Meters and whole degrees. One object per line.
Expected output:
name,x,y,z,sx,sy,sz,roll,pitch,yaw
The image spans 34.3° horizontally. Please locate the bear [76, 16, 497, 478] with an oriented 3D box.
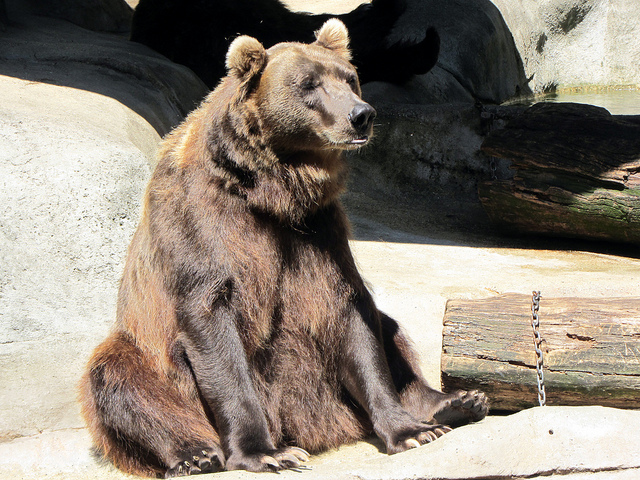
bear,-0.759,0.105,7.349,3.146,2.928,3.019,-2,-1,-40
